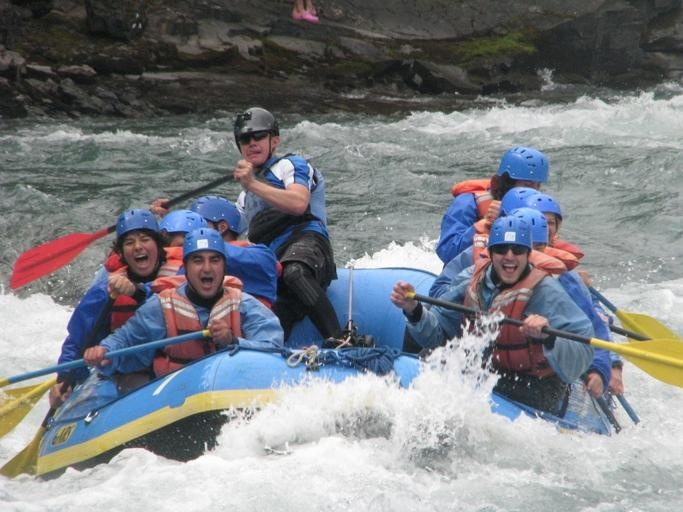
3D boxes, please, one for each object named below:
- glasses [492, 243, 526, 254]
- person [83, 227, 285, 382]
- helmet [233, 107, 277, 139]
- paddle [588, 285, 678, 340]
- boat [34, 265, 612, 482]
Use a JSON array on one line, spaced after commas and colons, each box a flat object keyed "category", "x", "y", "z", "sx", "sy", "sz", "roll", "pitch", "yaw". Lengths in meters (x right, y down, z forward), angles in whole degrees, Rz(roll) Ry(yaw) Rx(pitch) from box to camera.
[{"category": "glasses", "x": 1.544, "y": -0.058, "z": 8.728, "sx": 0.320, "sy": 0.098, "sz": 0.055, "roll": 4, "pitch": 19, "yaw": 8}, {"category": "person", "x": -1.460, "y": 0.503, "z": 8.844, "sx": 1.230, "sy": 0.686, "sz": 1.827, "roll": 4, "pitch": 62, "yaw": 2}, {"category": "helmet", "x": -0.861, "y": -1.352, "z": 9.788, "sx": 0.305, "sy": 0.295, "sz": 0.383, "roll": -7, "pitch": 1, "yaw": 23}, {"category": "paddle", "x": 3.155, "y": 0.637, "z": 10.279, "sx": 0.763, "sy": 0.110, "sz": 0.186, "roll": 38, "pitch": 45, "yaw": 12}, {"category": "boat", "x": -0.687, "y": 1.398, "z": 8.816, "sx": 3.894, "sy": 0.685, "sz": 2.325, "roll": -5, "pitch": 38, "yaw": -14}]
